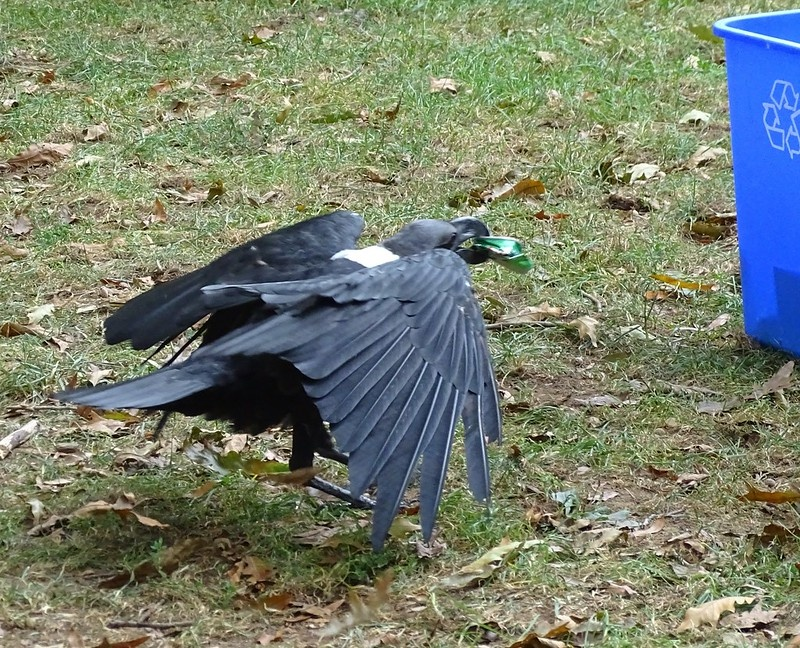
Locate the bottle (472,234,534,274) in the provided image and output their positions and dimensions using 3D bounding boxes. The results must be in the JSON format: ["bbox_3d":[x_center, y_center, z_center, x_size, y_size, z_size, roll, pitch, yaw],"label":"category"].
[{"bbox_3d":[0.398,-0.265,4.462,0.279,0.107,0.074,10,40,-8],"label":"bottle"}]
